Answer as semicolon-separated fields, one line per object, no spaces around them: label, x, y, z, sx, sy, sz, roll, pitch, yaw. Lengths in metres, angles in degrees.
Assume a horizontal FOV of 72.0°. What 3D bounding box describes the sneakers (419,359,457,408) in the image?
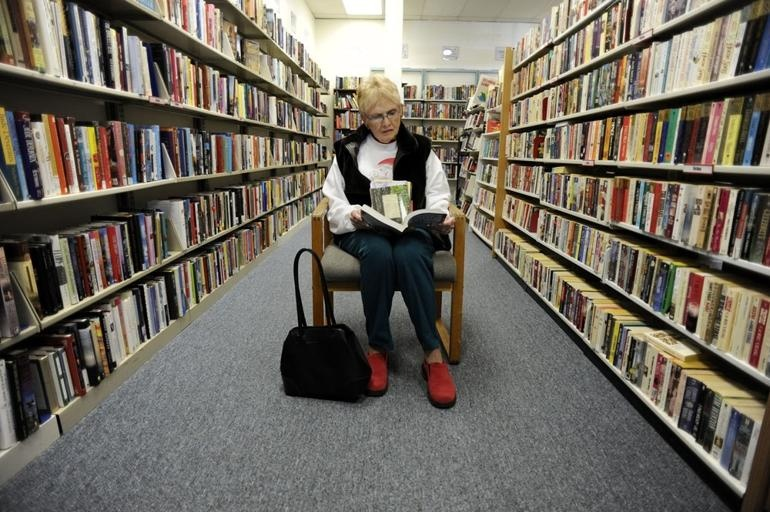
sneakers;0.268;0.592;2.624;0.134;0.121;0.361;-3;28;-7

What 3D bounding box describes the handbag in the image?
handbag;-0.287;0.522;2.522;0.329;0.316;0.143;0;6;9

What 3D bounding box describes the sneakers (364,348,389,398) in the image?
sneakers;-0.033;0.568;2.690;0.125;0.132;0.371;1;18;4

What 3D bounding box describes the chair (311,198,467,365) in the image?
chair;-0.007;0.117;3.115;0.731;1.115;0.907;0;2;2
